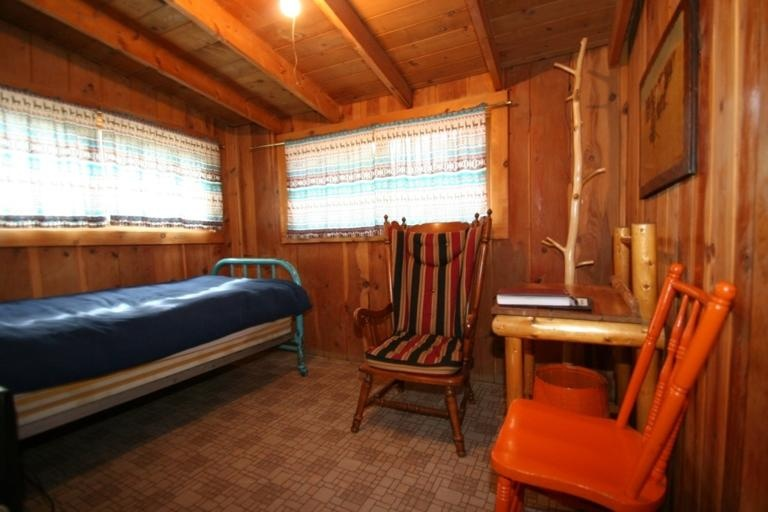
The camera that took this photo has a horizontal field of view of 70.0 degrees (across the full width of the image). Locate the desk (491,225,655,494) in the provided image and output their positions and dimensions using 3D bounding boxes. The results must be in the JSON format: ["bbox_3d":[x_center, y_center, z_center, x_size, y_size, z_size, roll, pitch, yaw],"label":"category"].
[{"bbox_3d":[1.087,0.382,3.265,1.082,0.923,0.997,-15,17,-41],"label":"desk"}]

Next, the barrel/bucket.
[{"bbox_3d":[1.037,0.742,3.069,0.337,0.256,0.305,1,-10,5],"label":"barrel/bucket"}]

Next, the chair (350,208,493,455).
[{"bbox_3d":[0.268,0.465,3.755,0.985,1.505,0.861,-3,4,9],"label":"chair"}]
